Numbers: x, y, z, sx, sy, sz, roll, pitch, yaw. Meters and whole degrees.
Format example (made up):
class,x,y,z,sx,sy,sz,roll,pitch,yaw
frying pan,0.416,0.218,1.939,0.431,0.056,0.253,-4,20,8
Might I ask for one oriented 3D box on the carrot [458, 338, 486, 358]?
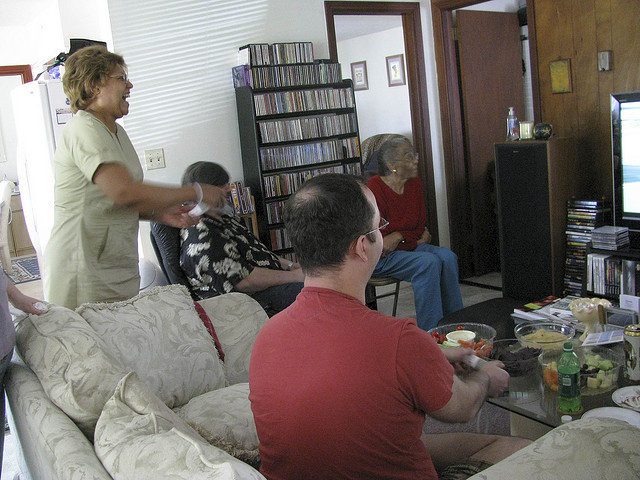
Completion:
class,x,y,z,sx,sy,sz,roll,pitch,yaw
carrot,0.662,0.450,2.044,0.078,0.037,0.095,3,8,28

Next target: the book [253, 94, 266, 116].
class,x,y,z,sx,sy,sz,roll,pitch,yaw
book,-0.471,-1.051,3.732,0.034,0.136,0.148,-1,4,41

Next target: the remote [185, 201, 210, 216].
class,x,y,z,sx,sy,sz,roll,pitch,yaw
remote,-0.532,-0.133,2.102,0.056,0.016,0.061,-13,23,45

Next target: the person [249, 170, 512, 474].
class,x,y,z,sx,sy,sz,roll,pitch,yaw
person,0.116,0.219,1.222,0.620,0.786,0.313,-8,7,-12

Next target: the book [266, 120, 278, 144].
class,x,y,z,sx,sy,sz,roll,pitch,yaw
book,-0.379,-0.853,3.804,0.034,0.146,0.155,-2,9,28

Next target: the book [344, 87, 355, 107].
class,x,y,z,sx,sy,sz,roll,pitch,yaw
book,0.253,-1.226,4.112,0.107,0.140,0.041,-4,3,-18

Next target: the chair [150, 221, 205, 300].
class,x,y,z,sx,sy,sz,roll,pitch,yaw
chair,-0.832,0.087,2.821,0.385,0.504,0.360,-6,11,-22

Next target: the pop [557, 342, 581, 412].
class,x,y,z,sx,sy,sz,roll,pitch,yaw
pop,0.879,0.488,1.705,0.067,0.241,0.085,11,13,24

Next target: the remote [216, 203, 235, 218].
class,x,y,z,sx,sy,sz,roll,pitch,yaw
remote,-0.461,-0.148,2.304,0.084,0.020,0.078,13,4,-45

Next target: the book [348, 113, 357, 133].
class,x,y,z,sx,sy,sz,roll,pitch,yaw
book,0.281,-1.015,4.139,0.085,0.149,0.158,-6,-1,-5

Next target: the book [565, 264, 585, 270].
class,x,y,z,sx,sy,sz,roll,pitch,yaw
book,2.034,0.216,3.824,0.132,0.035,0.014,0,9,44

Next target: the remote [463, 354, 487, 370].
class,x,y,z,sx,sy,sz,roll,pitch,yaw
remote,0.505,0.396,1.556,0.040,0.025,0.055,6,1,6

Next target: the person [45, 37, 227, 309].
class,x,y,z,sx,sy,sz,roll,pitch,yaw
person,-0.862,-0.278,2.061,0.688,1.080,0.381,-4,7,19

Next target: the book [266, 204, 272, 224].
class,x,y,z,sx,sy,sz,roll,pitch,yaw
book,-0.405,-0.207,3.837,0.037,0.168,0.110,-7,9,-2

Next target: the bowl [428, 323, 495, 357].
class,x,y,z,sx,sy,sz,roll,pitch,yaw
bowl,0.652,0.465,2.177,0.281,0.099,0.280,-7,2,0

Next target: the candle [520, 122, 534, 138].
class,x,y,z,sx,sy,sz,roll,pitch,yaw
candle,1.686,-0.893,3.899,0.111,0.129,0.114,1,12,3

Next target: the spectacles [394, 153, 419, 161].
class,x,y,z,sx,sy,sz,roll,pitch,yaw
spectacles,0.686,-0.631,3.642,0.116,0.035,0.116,-1,9,28

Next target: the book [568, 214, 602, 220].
class,x,y,z,sx,sy,sz,roll,pitch,yaw
book,2.060,-0.177,3.718,0.047,0.049,0.217,-13,9,-44
